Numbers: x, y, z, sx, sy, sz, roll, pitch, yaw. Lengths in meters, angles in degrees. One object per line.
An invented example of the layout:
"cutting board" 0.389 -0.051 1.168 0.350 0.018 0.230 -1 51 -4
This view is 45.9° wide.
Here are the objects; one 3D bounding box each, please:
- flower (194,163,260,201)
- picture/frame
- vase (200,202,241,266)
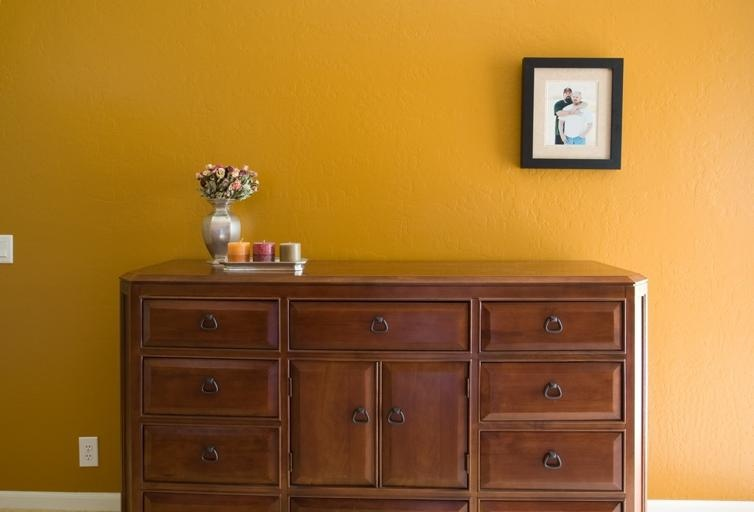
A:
"flower" -0.735 -0.376 4.438 0.298 0.171 0.295 1 8 6
"picture/frame" 0.983 -0.739 4.459 0.554 0.626 0.047 1 2 0
"vase" -0.773 -0.130 4.402 0.208 0.301 0.175 1 10 -2
